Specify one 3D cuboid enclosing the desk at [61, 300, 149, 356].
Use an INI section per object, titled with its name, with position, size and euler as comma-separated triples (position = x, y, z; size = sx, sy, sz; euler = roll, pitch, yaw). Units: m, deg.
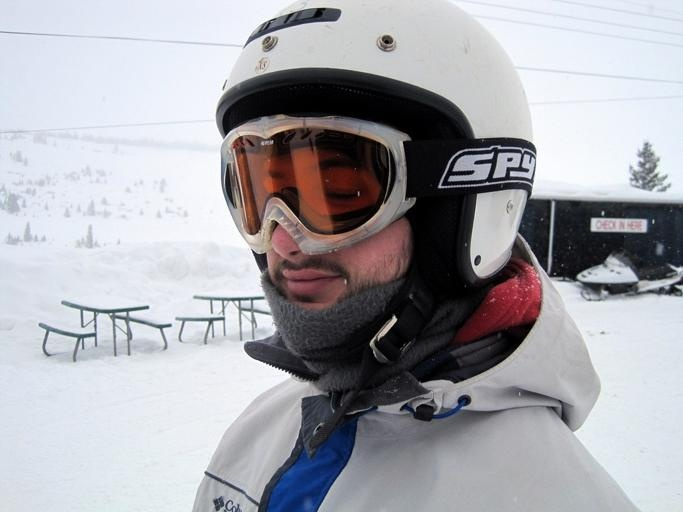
[desk]
position = -2.632, 0.677, 7.466
size = 0.953, 0.445, 0.547
euler = 5, 17, 21
